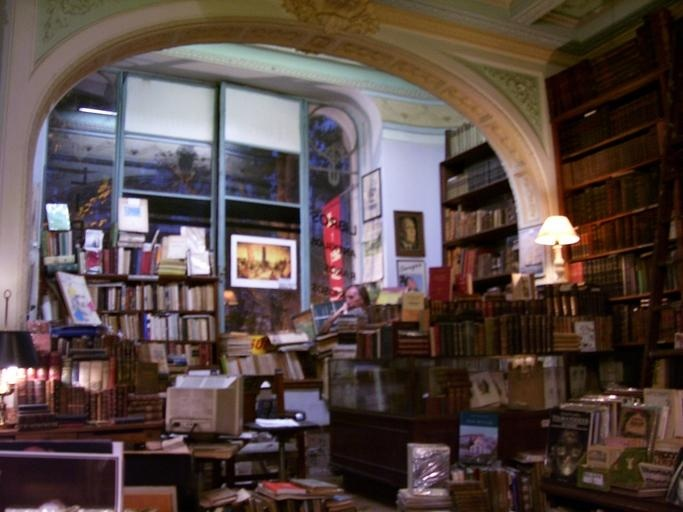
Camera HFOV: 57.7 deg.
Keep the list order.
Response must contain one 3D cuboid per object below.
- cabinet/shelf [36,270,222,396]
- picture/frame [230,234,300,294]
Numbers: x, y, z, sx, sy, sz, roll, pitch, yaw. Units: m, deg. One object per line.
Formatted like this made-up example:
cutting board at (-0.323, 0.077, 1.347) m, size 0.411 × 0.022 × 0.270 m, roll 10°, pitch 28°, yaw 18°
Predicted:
cabinet/shelf at (-2.449, 0.834, 6.987) m, size 1.311 × 1.146 × 0.418 m, roll 3°, pitch -11°, yaw -21°
picture/frame at (-1.287, 0.139, 10.064) m, size 0.955 × 0.686 × 0.032 m, roll 2°, pitch -3°, yaw -29°
